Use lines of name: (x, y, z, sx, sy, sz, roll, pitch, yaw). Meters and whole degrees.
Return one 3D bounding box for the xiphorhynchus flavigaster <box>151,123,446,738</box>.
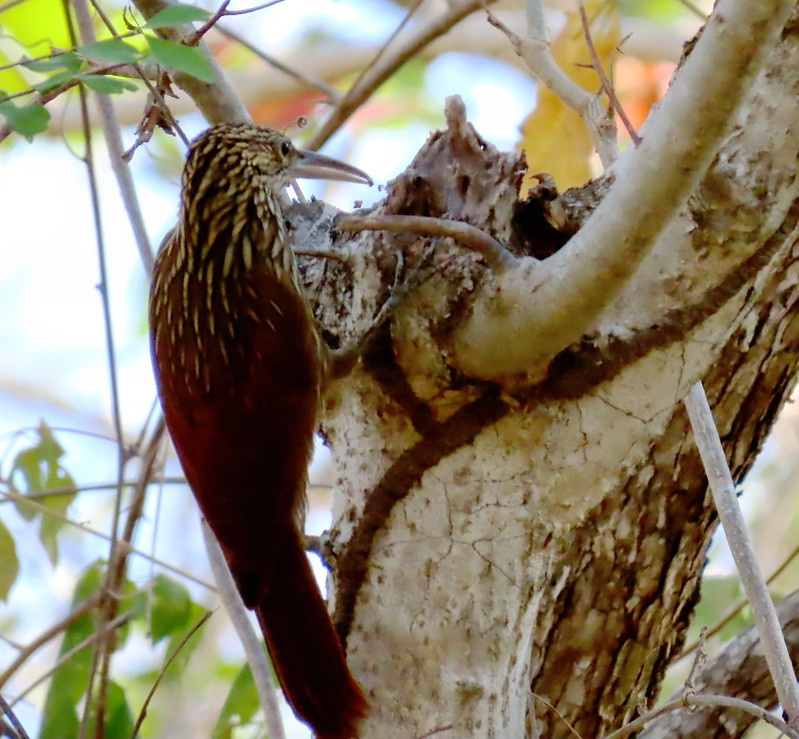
xiphorhynchus flavigaster: (-0.327, 0.113, 3.896, 0.434, 1.501, 0.595, 11, -46, -26)
